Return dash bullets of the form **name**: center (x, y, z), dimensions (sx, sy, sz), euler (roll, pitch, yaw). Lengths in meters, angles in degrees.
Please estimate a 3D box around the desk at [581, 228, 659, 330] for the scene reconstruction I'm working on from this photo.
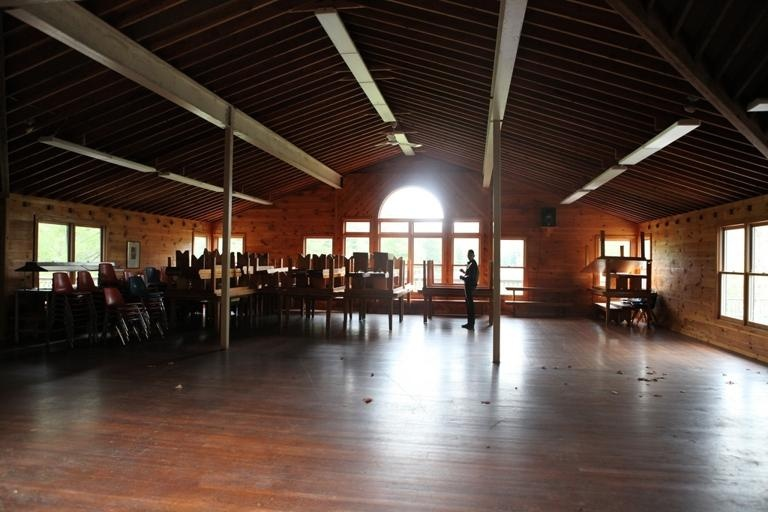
- **desk**: center (6.209, 0.645, 13.849), dimensions (1.335, 1.566, 2.896), euler (-1, -2, 10)

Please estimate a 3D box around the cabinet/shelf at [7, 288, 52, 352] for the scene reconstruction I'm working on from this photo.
- **cabinet/shelf**: center (-6.723, 1.131, 10.081), dimensions (0.593, 1.006, 1.529), euler (3, -5, -34)

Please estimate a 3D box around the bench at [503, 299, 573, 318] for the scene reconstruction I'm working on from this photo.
- **bench**: center (4.328, 1.503, 14.995), dimensions (1.879, 0.451, 0.581), euler (-1, -4, 12)

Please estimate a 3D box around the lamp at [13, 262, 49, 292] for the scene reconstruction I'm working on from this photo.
- **lamp**: center (-7.059, 0.424, 10.679), dimensions (0.661, 0.486, 0.663), euler (-1, -2, 13)
